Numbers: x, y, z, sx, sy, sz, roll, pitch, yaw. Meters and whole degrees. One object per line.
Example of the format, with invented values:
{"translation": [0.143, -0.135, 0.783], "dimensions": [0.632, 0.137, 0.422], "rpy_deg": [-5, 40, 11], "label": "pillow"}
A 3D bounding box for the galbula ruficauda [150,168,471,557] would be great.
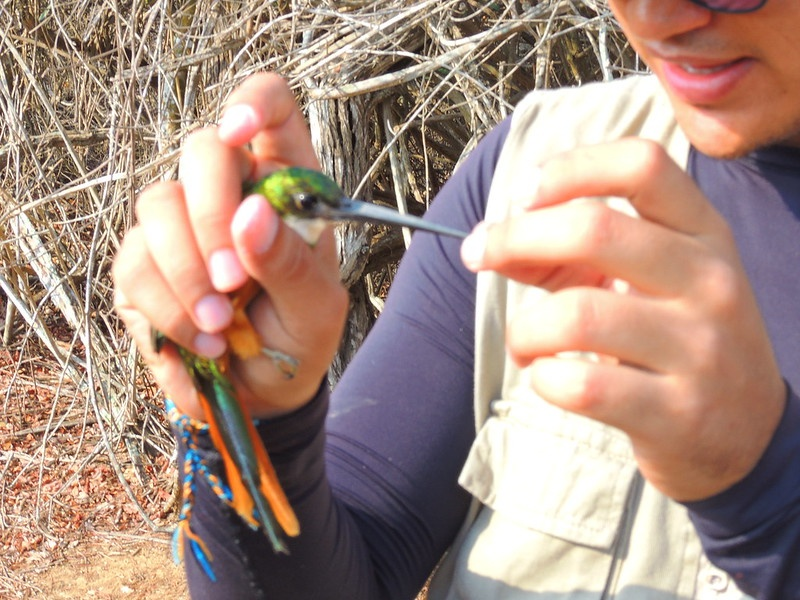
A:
{"translation": [-0.252, 0.184, 1.768], "dimensions": [0.667, 0.831, 0.382], "rpy_deg": [-24, 33, -28], "label": "galbula ruficauda"}
